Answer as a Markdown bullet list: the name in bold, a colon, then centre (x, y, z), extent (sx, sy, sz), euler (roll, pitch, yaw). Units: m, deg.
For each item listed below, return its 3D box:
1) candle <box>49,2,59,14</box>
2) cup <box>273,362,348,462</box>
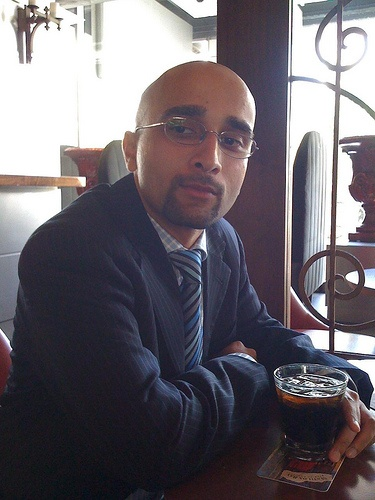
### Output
- **candle**: centre (-1.116, -1.982, 3.642), extent (0.047, 0.108, 0.062), euler (-3, 7, -24)
- **cup**: centre (0.152, 0.205, 0.592), extent (0.094, 0.099, 0.090), euler (0, 6, 0)
